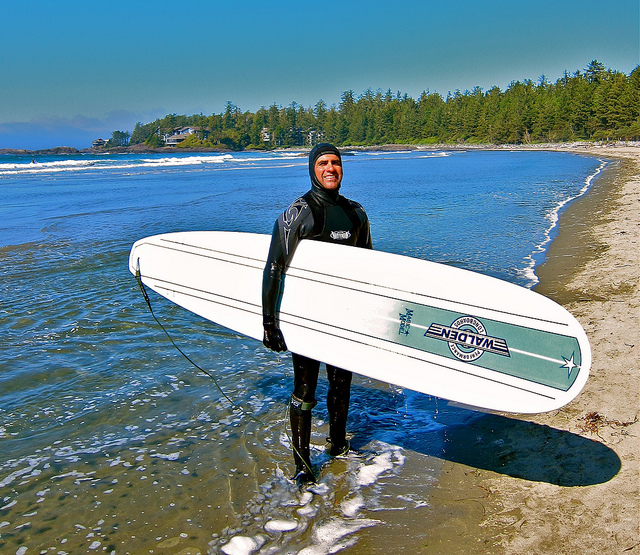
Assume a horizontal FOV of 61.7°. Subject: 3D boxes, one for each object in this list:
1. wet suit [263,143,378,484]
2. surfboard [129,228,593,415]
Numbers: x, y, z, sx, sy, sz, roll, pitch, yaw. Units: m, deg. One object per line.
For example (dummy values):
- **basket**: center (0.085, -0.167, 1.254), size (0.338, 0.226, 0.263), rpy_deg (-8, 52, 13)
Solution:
- **wet suit**: center (0.004, 0.304, 4.222), size (0.792, 2.649, 0.975), rpy_deg (8, 22, 23)
- **surfboard**: center (0.109, 0.212, 4.312), size (3.706, 1.095, 0.691), rpy_deg (9, 22, 31)
